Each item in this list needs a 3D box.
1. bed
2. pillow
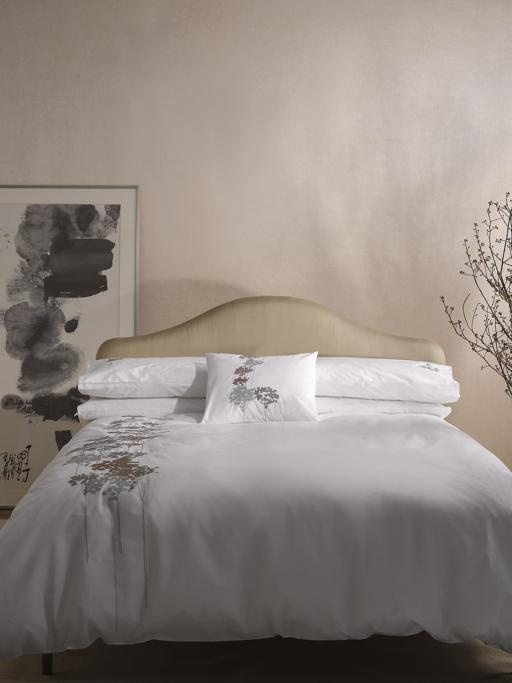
[{"bbox_3d":[0.086,0.730,3.608,1.984,1.087,1.277,-1,-12,1],"label":"bed"},{"bbox_3d":[0.012,0.182,2.628,0.461,0.259,0.352,0,1,1],"label":"pillow"}]
